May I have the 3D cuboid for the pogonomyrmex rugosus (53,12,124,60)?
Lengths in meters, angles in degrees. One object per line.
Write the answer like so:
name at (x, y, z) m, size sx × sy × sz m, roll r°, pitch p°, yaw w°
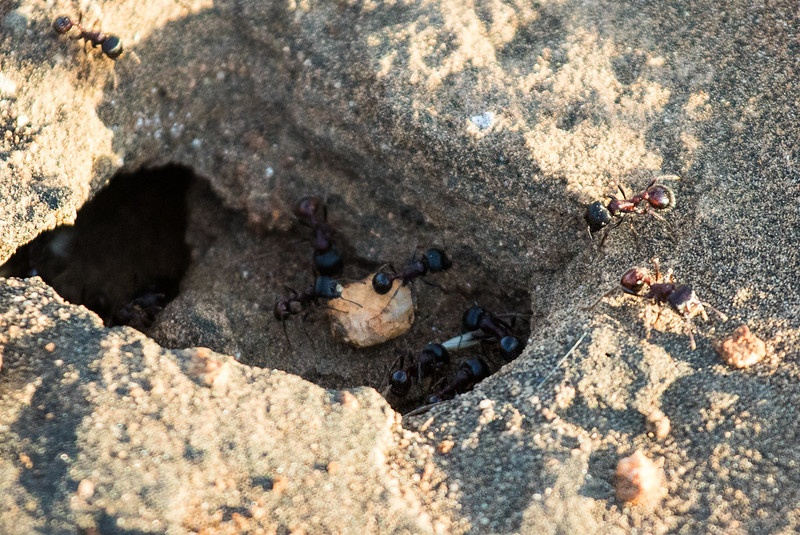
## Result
pogonomyrmex rugosus at (-2.879, -2.157, 9.900) m, size 0.762 × 0.262 × 0.239 m, roll 23°, pitch 36°, yaw -14°
